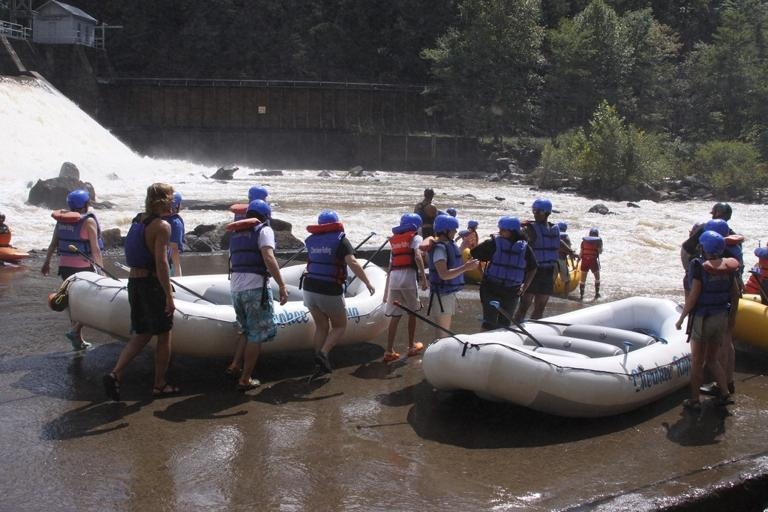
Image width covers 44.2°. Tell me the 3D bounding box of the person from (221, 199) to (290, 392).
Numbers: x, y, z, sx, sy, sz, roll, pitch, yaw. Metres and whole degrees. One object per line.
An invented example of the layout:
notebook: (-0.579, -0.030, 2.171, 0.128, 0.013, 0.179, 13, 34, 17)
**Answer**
person: (-3.021, 0.850, 21.863, 1.357, 4.255, 0.888, 4, 9, 6)

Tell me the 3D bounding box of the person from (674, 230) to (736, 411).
person: (7.377, 1.414, 21.539, 1.230, 3.979, 0.593, 2, 9, -3)
